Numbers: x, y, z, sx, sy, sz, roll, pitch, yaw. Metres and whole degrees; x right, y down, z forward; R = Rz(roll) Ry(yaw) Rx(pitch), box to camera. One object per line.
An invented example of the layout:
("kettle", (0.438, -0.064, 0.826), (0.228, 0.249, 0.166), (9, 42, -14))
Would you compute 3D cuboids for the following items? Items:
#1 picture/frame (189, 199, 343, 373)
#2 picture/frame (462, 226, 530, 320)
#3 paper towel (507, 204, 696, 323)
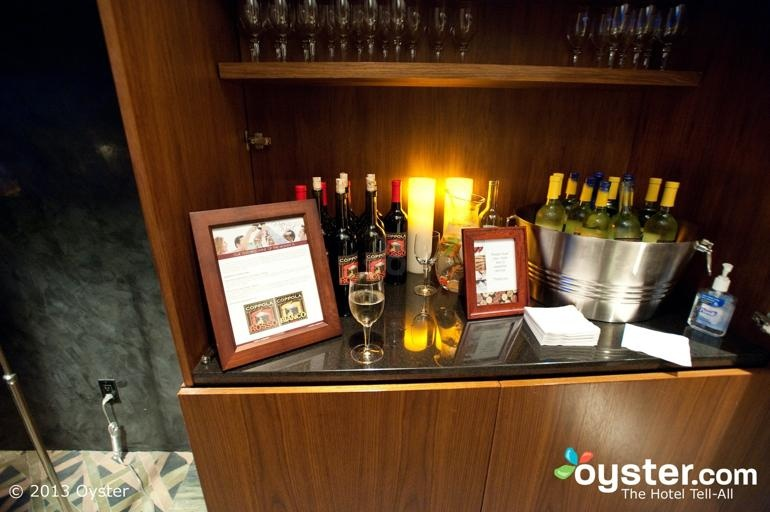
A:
("picture/frame", (-0.478, 0.131, 1.828), (0.533, 0.618, 0.047), (-14, 0, -20))
("picture/frame", (0.470, 0.075, 2.037), (0.313, 0.401, 0.200), (-5, 17, -4))
("paper towel", (0.874, 0.076, 1.996), (0.526, 0.262, 0.532), (1, 10, -33))
